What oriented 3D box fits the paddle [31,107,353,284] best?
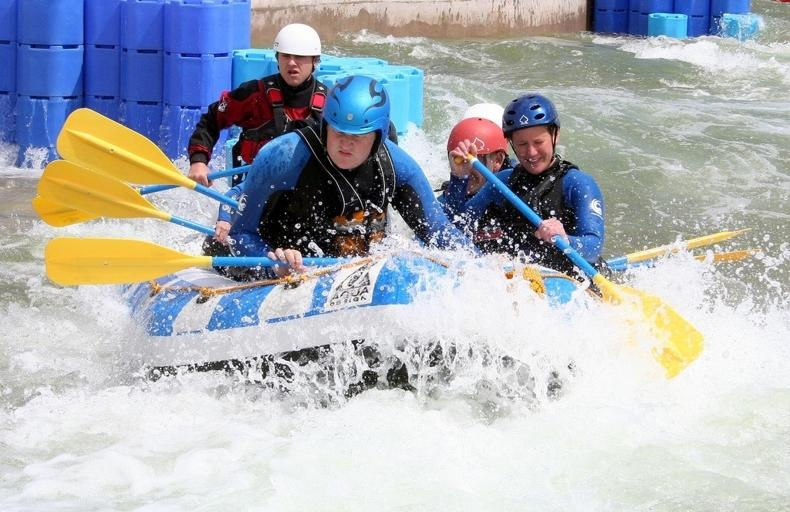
[{"bbox_3d":[-1.213,-0.270,5.383,2.285,0.958,0.250,11,3,12],"label":"paddle"}]

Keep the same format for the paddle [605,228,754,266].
[{"bbox_3d":[2.303,-0.060,6.750,1.444,0.106,0.115,-10,-20,-34],"label":"paddle"}]

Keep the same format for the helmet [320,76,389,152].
[{"bbox_3d":[-0.221,-0.882,4.931,0.315,0.418,0.313,10,-37,3],"label":"helmet"}]

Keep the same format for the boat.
[{"bbox_3d":[-0.643,0.361,5.143,2.004,0.530,1.119,-1,1,16],"label":"boat"}]

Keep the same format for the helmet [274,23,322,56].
[{"bbox_3d":[-0.781,-1.744,6.888,0.286,0.273,0.337,9,-12,13],"label":"helmet"}]
